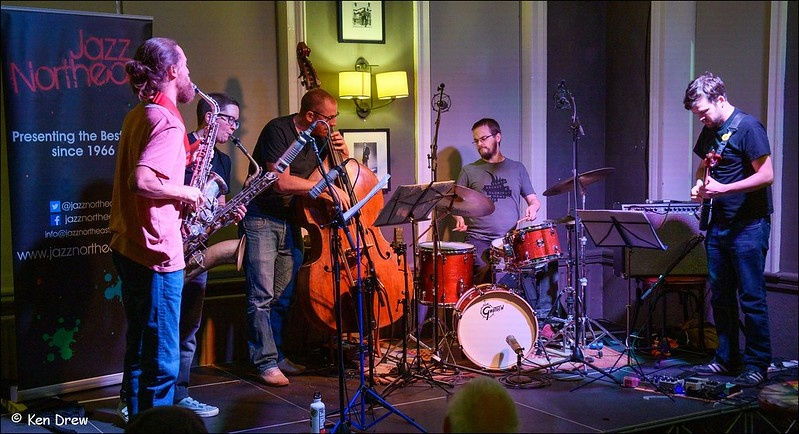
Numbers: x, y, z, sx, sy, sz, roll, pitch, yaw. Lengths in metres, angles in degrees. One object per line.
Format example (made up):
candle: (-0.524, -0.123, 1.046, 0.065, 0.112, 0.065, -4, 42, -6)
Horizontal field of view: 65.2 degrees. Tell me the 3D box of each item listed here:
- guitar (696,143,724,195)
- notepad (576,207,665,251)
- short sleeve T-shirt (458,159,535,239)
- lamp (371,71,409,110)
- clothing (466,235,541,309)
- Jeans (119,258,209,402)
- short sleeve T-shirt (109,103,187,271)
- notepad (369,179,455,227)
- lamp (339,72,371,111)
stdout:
guitar: (3.235, -0.497, 6.652, 0.201, 0.580, 0.202, 11, 8, -39)
notepad: (2.461, 0.134, 6.925, 0.705, 0.451, 0.085, 0, 41, 38)
short sleeve T-shirt: (1.152, -0.198, 7.598, 1.092, 0.931, 0.536, 3, -8, -16)
lamp: (-0.125, -1.558, 7.691, 0.380, 0.300, 0.394, -3, -1, -42)
clothing: (1.414, 0.686, 7.751, 1.019, 0.995, 0.622, -1, -3, -22)
Jeans: (-2.210, 1.195, 5.737, 0.474, 1.660, 0.585, -5, 13, -26)
short sleeve T-shirt: (-2.197, -0.245, 5.412, 0.679, 1.458, 0.380, -2, -2, -9)
notepad: (0.095, -0.148, 6.500, 0.967, 0.127, 0.618, -1, -32, -47)
lamp: (-0.537, -1.559, 7.664, 0.392, 0.378, 0.360, 0, 0, 5)
